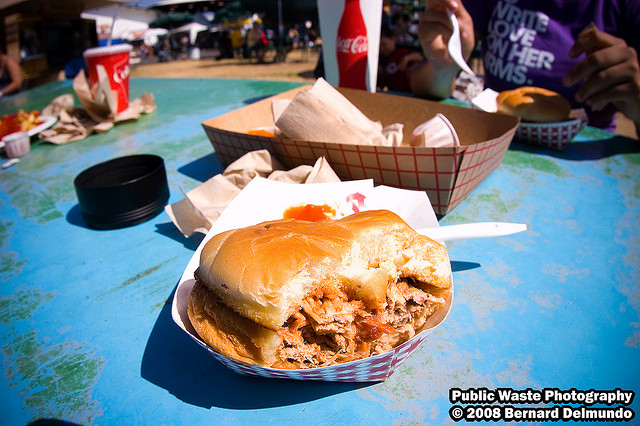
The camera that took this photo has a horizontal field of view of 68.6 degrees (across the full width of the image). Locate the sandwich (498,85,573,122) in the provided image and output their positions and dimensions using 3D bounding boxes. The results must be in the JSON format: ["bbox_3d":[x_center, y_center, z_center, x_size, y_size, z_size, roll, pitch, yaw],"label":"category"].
[{"bbox_3d":[1.020,-0.513,2.209,0.276,0.102,0.261,-22,40,-37],"label":"sandwich"}]

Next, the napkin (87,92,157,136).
[{"bbox_3d":[-1.161,-0.584,2.778,0.356,0.097,0.211,-30,15,-14],"label":"napkin"}]

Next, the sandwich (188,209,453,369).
[{"bbox_3d":[-0.036,0.183,1.494,0.677,0.461,0.560,-15,15,-39],"label":"sandwich"}]

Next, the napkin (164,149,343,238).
[{"bbox_3d":[-0.310,-0.167,1.916,0.663,0.336,0.551,-8,13,-30],"label":"napkin"}]
